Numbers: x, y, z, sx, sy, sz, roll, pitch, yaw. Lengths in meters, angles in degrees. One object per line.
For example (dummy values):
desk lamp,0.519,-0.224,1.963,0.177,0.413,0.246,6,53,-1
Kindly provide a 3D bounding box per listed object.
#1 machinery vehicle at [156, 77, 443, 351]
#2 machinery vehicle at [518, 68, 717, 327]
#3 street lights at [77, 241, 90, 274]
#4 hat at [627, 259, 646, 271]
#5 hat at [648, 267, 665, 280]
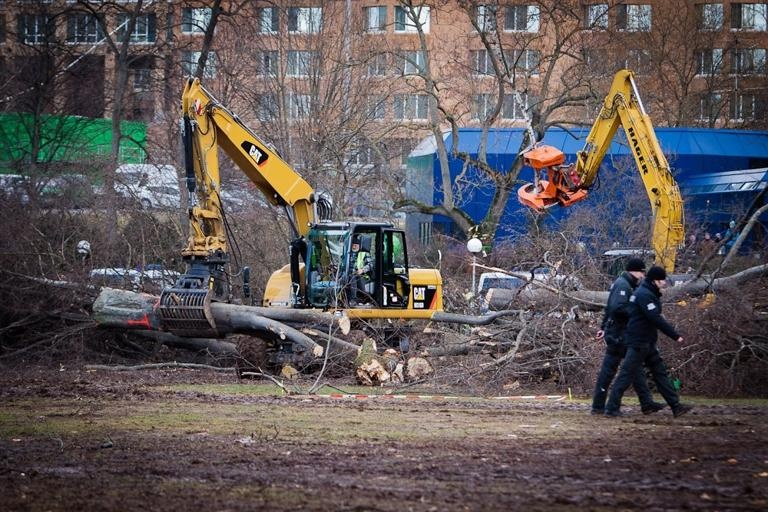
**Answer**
machinery vehicle,-2.041,-0.741,31.398,3.446,5.774,9.199,-2,-5,41
machinery vehicle,5.857,-2.207,31.433,1.779,5.635,5.937,-15,23,-35
street lights,-8.217,-0.009,31.968,0.408,0.805,1.064,2,0,-15
hat,5.610,0.173,25.832,0.374,0.271,0.272,-9,8,2
hat,5.987,0.371,25.394,0.348,0.264,0.264,11,9,19
